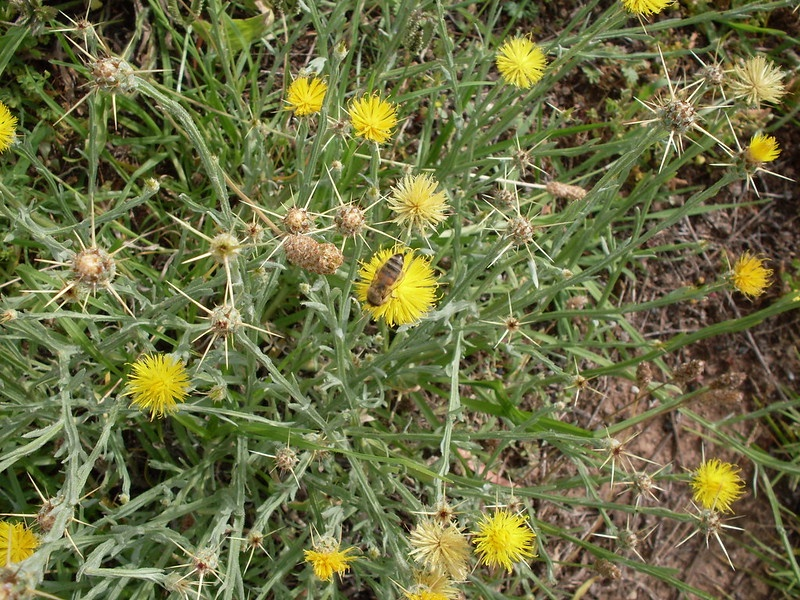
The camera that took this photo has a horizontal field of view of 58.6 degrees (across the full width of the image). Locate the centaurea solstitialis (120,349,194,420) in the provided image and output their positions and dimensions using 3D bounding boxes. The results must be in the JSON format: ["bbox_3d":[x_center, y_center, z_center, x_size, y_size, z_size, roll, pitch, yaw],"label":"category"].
[{"bbox_3d":[-0.778,0.264,2.276,0.184,0.148,0.189,26,77,-3],"label":"centaurea solstitialis"}]

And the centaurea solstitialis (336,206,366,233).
[{"bbox_3d":[-0.163,-0.256,2.252,0.097,0.067,0.094,5,79,-7],"label":"centaurea solstitialis"}]

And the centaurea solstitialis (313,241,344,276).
[{"bbox_3d":[-0.224,-0.124,2.177,0.080,0.071,0.091,10,79,-6],"label":"centaurea solstitialis"}]

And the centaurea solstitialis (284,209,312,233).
[{"bbox_3d":[-0.320,-0.246,2.214,0.072,0.072,0.078,32,35,-38],"label":"centaurea solstitialis"}]

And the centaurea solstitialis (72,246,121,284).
[{"bbox_3d":[-0.921,-0.098,2.133,0.113,0.066,0.110,13,78,-6],"label":"centaurea solstitialis"}]

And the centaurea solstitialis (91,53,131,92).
[{"bbox_3d":[-0.873,-0.687,2.163,0.114,0.070,0.098,-2,122,-41],"label":"centaurea solstitialis"}]

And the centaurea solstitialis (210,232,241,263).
[{"bbox_3d":[-0.527,-0.152,2.141,0.076,0.082,0.083,-7,89,-22],"label":"centaurea solstitialis"}]

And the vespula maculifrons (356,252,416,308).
[{"bbox_3d":[-0.046,-0.064,2.257,0.154,0.122,0.166,-7,108,-28],"label":"vespula maculifrons"}]

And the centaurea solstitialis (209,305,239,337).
[{"bbox_3d":[-0.539,0.061,2.175,0.084,0.069,0.094,1,81,-6],"label":"centaurea solstitialis"}]

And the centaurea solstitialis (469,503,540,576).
[{"bbox_3d":[0.372,0.858,2.444,0.203,0.208,0.220,-48,120,-3],"label":"centaurea solstitialis"}]

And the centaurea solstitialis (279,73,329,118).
[{"bbox_3d":[-0.370,-0.801,2.754,0.181,0.185,0.092,-2,84,21],"label":"centaurea solstitialis"}]
